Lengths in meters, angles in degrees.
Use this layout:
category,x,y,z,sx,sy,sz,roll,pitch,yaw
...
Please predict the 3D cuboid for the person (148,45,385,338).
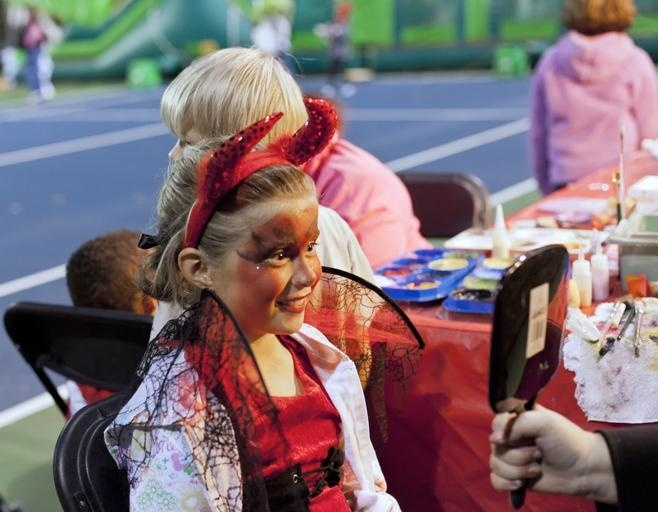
category,x,y,z,sx,sy,sz,roll,pitch,yaw
person,-0.262,-0.326,2.543,0.597,0.836,0.670,-6,49,-14
